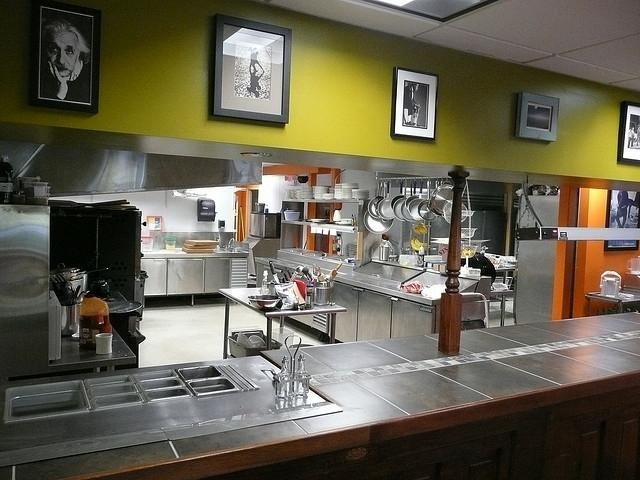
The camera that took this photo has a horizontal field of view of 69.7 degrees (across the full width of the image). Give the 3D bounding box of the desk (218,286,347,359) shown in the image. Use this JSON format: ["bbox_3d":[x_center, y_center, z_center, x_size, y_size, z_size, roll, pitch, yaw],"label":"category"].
[{"bbox_3d":[-0.326,0.979,5.546,1.525,0.984,0.771,-5,-3,-30],"label":"desk"}]

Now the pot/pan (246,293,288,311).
[{"bbox_3d":[-0.551,0.635,4.755,0.334,0.119,0.433,0,6,-14],"label":"pot/pan"}]

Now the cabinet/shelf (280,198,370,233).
[{"bbox_3d":[-0.011,-0.376,7.620,0.296,0.492,2.063,-14,11,-33],"label":"cabinet/shelf"}]

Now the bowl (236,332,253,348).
[{"bbox_3d":[-0.827,1.102,5.011,0.140,0.114,0.113,0,0,-15],"label":"bowl"}]

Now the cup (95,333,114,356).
[{"bbox_3d":[-1.306,0.632,2.785,0.098,0.103,0.120,1,-2,-1],"label":"cup"}]

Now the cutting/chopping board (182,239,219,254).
[{"bbox_3d":[-2.209,0.132,8.437,0.583,0.212,0.314,0,6,-15],"label":"cutting/chopping board"}]

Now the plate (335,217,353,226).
[{"bbox_3d":[0.348,-0.284,6.899,0.188,0.096,0.556,1,6,-9],"label":"plate"}]

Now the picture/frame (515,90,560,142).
[{"bbox_3d":[1.315,-0.765,2.811,0.349,0.294,0.049,1,2,-26],"label":"picture/frame"}]

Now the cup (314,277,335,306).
[{"bbox_3d":[0.033,0.544,4.893,0.258,0.272,0.257,1,3,0],"label":"cup"}]

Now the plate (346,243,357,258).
[{"bbox_3d":[0.587,0.197,8.474,0.271,0.253,0.466,0,-12,1],"label":"plate"}]

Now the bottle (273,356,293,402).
[{"bbox_3d":[-0.179,0.641,2.211,0.089,0.179,0.221,1,6,-6],"label":"bottle"}]

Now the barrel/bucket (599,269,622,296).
[{"bbox_3d":[3.698,0.533,5.792,0.291,0.372,0.285,0,2,0],"label":"barrel/bucket"}]

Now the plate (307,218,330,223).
[{"bbox_3d":[-0.026,-0.311,7.440,0.305,0.051,0.516,1,6,-10],"label":"plate"}]

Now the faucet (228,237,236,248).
[{"bbox_3d":[-1.833,0.058,9.495,0.121,0.188,0.343,3,6,9],"label":"faucet"}]

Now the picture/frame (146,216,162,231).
[{"bbox_3d":[-3.157,-0.317,8.722,0.318,0.286,0.075,1,-3,-30],"label":"picture/frame"}]

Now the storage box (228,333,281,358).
[{"bbox_3d":[-0.798,1.136,5.163,0.498,0.259,0.731,1,-1,-24],"label":"storage box"}]

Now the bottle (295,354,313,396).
[{"bbox_3d":[-0.085,0.652,2.246,0.073,0.189,0.177,2,6,-1],"label":"bottle"}]
